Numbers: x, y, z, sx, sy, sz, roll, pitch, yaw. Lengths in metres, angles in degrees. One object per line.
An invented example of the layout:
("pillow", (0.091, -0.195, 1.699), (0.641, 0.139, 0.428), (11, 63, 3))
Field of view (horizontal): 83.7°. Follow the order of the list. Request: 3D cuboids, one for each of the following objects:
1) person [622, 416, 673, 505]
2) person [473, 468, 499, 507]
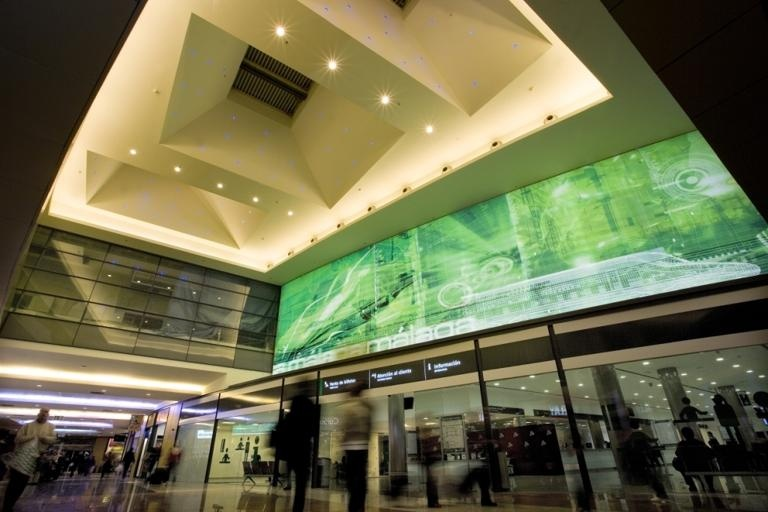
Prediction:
("person", (6.054, 4.616, 10.114), (0.676, 1.552, 0.379), (-14, -34, 19))
("person", (2.373, 5.408, 10.153), (0.390, 0.785, 1.066), (-6, -30, 7))
